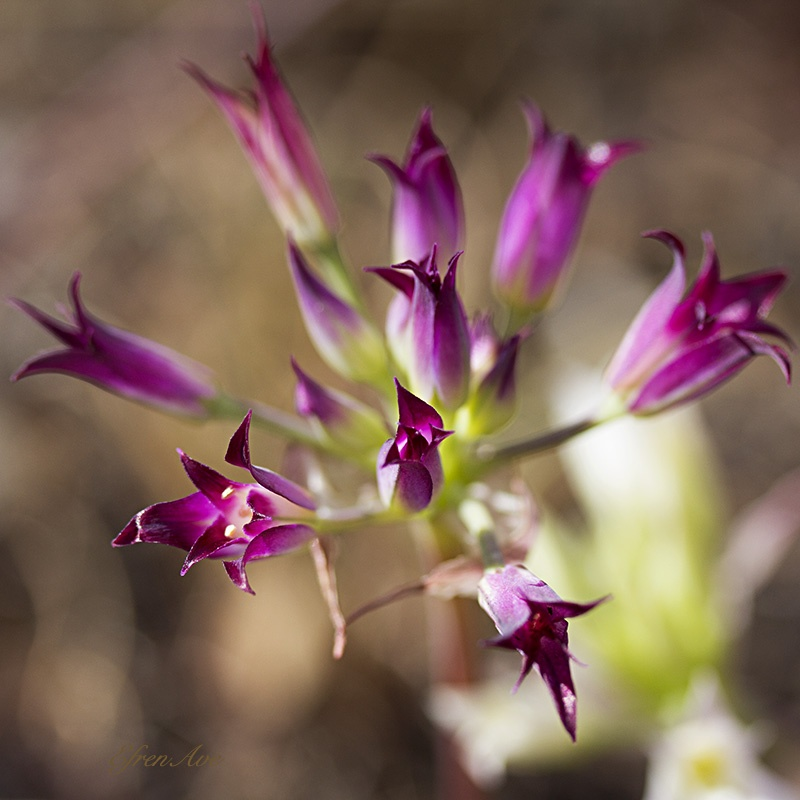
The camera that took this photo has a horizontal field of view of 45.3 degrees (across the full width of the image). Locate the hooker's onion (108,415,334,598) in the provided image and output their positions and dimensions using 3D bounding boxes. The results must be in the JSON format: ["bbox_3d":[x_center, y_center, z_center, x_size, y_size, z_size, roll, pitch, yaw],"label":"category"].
[{"bbox_3d":[-0.420,0.273,2.369,0.442,0.195,0.434,4,51,-17],"label":"hooker's onion"}]

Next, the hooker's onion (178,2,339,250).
[{"bbox_3d":[-0.375,-0.737,2.656,0.418,0.632,0.229,-1,7,-15],"label":"hooker's onion"}]

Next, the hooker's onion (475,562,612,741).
[{"bbox_3d":[0.313,0.552,2.311,0.264,0.152,0.422,-5,53,-25],"label":"hooker's onion"}]
